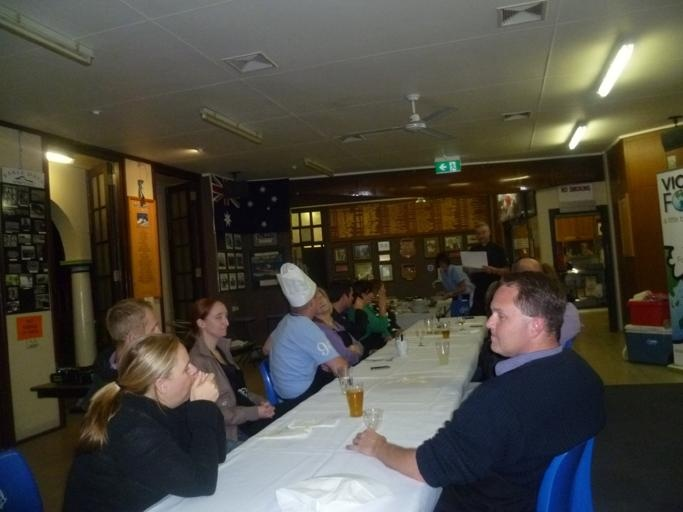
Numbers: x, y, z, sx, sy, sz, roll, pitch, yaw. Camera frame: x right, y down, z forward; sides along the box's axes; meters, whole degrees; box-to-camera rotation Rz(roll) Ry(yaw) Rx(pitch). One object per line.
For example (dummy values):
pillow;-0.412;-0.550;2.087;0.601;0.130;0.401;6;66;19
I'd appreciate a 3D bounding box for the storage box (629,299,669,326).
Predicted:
storage box;3.827;0.687;6.322;0.341;0.198;0.338;-1;0;32

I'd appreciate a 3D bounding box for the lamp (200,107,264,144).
lamp;-1.245;-1.486;6.035;0.155;0.168;1.508;0;-2;18

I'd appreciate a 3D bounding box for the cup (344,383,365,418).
cup;0.071;0.756;2.680;0.163;0.198;0.140;0;-8;-2

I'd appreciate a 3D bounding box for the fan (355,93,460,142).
fan;0.720;-1.413;5.349;0.707;0.236;0.661;2;-2;5

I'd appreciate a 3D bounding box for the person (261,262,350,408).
person;-0.191;0.534;3.701;0.654;0.948;0.794;-10;9;-43

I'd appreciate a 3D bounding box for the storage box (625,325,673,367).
storage box;3.743;1.069;6.210;0.471;0.418;0.462;-2;-4;39

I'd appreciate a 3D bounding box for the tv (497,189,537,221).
tv;3.320;-0.977;9.614;0.524;0.813;0.886;3;-5;0
